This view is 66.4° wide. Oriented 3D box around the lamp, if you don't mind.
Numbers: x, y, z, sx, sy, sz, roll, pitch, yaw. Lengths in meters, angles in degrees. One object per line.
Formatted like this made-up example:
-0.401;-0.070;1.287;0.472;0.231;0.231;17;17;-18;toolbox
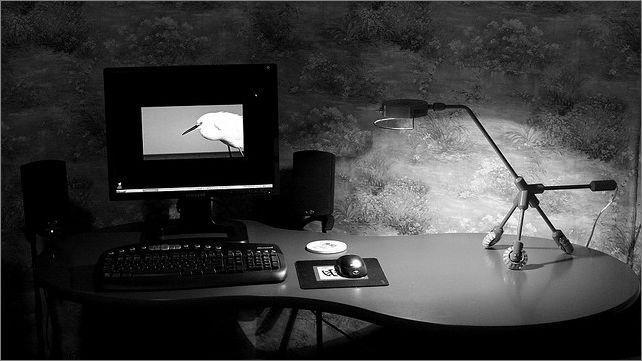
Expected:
0.849;0.010;2.412;1.397;0.735;0.479;4;15;-9;lamp

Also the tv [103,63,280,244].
-0.659;-0.172;2.495;1.162;0.937;0.345;-1;4;-4;tv
